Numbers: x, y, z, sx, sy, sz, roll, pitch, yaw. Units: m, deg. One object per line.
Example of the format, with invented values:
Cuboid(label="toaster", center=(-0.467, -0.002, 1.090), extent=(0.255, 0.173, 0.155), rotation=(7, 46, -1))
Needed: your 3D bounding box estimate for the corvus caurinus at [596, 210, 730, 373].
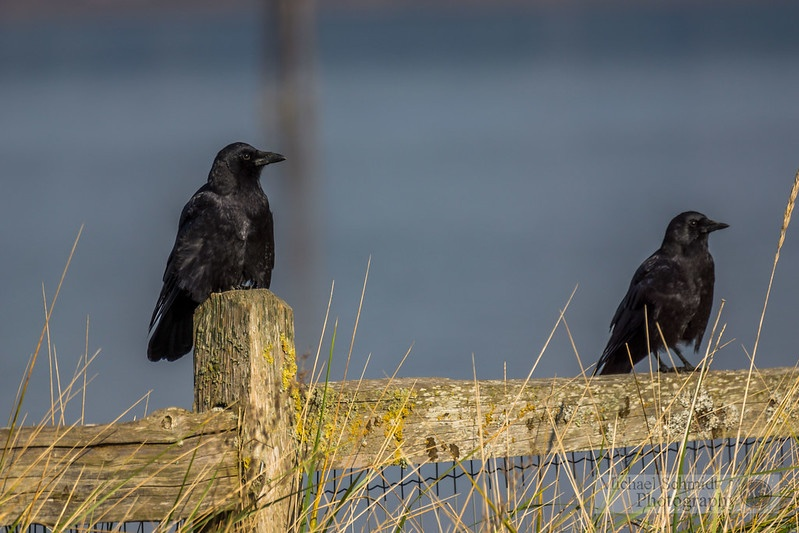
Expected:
Cuboid(label="corvus caurinus", center=(1.725, 0.204, 9.667), extent=(0.414, 0.861, 1.052), rotation=(6, -25, -18))
